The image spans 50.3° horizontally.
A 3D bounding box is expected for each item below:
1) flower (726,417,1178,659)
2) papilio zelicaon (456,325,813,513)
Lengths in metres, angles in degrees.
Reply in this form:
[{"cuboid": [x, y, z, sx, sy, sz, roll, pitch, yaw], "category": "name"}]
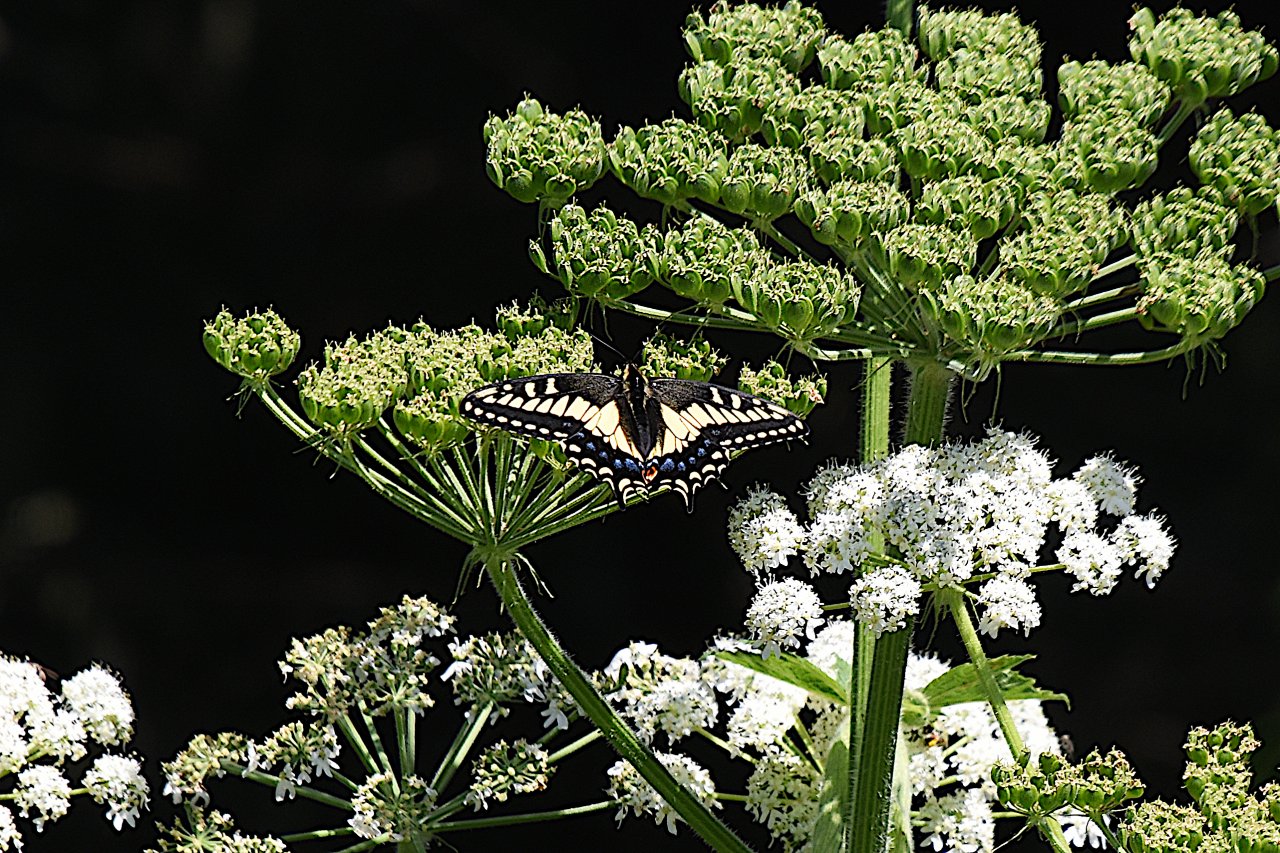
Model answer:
[{"cuboid": [1.309, 0.470, 5.782, 1.816, 0.808, 0.663, -5, -46, 0], "category": "flower"}, {"cuboid": [-0.006, -0.022, 5.926, 1.484, 0.342, 0.796, 5, -54, 13], "category": "papilio zelicaon"}]
